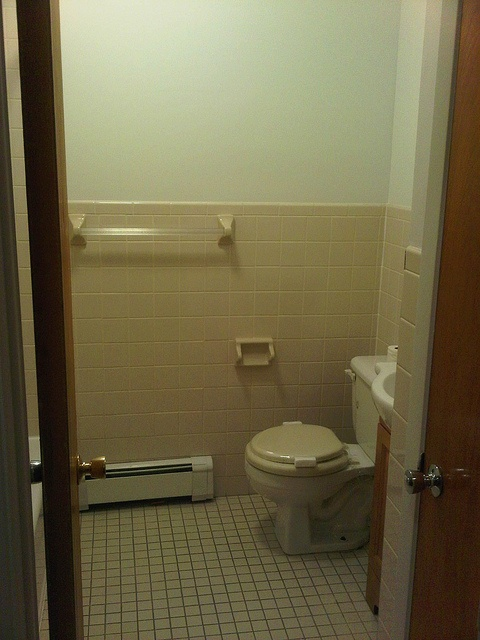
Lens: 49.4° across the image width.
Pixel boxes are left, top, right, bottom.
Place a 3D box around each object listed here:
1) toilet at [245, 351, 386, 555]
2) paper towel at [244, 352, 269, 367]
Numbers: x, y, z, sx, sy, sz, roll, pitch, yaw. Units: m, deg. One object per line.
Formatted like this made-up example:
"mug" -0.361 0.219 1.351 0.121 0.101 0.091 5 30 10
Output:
"toilet" 0.357 0.571 2.332 0.554 0.949 0.431 -4 17 4
"paper towel" 0.073 0.204 2.573 0.097 0.085 0.030 1 0 -7
